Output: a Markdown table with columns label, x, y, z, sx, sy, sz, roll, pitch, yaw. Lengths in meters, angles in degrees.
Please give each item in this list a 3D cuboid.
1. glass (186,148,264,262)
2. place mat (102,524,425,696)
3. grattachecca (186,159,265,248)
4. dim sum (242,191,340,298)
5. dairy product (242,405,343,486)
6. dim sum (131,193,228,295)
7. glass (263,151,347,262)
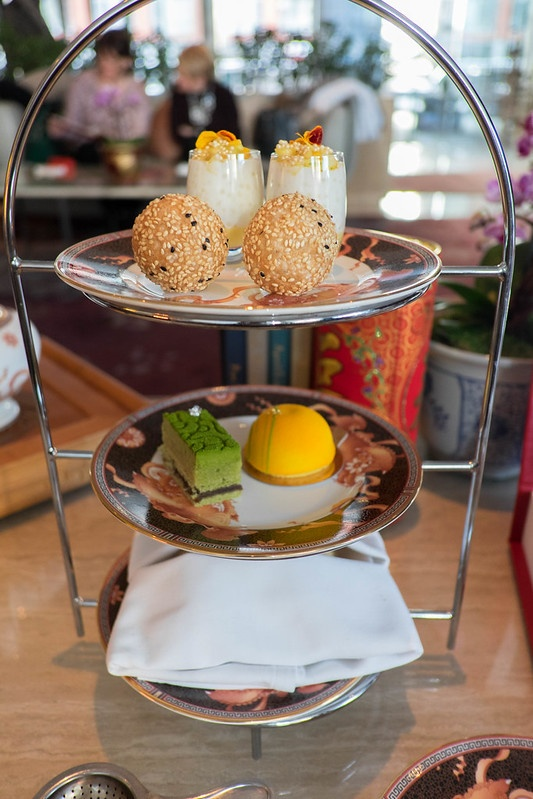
| label | x | y | z | sx | sy | sz | roll | pitch | yaw |
| --- | --- | --- | --- | --- | --- | --- | --- | --- | --- |
| glass | -0.029 | -0.171 | 0.682 | 0.092 | 0.113 | 0.087 | -1 | 21 | -2 |
| place mat | -0.005 | 0.161 | 0.575 | 0.159 | 0.034 | 0.143 | 0 | 27 | -4 |
| grattachecca | -0.023 | -0.178 | 0.676 | 0.079 | 0.077 | 0.078 | -2 | 23 | -2 |
| dim sum | 0.016 | -0.104 | 0.507 | 0.066 | 0.042 | 0.067 | 3 | 70 | 8 |
| dairy product | 0.025 | 0.034 | 0.673 | 0.094 | 0.051 | 0.087 | -14 | 22 | -11 |
| dim sum | -0.060 | -0.106 | 0.513 | 0.066 | 0.021 | 0.067 | 7 | 63 | -12 |
| glass | 0.032 | -0.172 | 0.633 | 0.070 | 0.062 | 0.066 | -3 | 22 | -10 |
